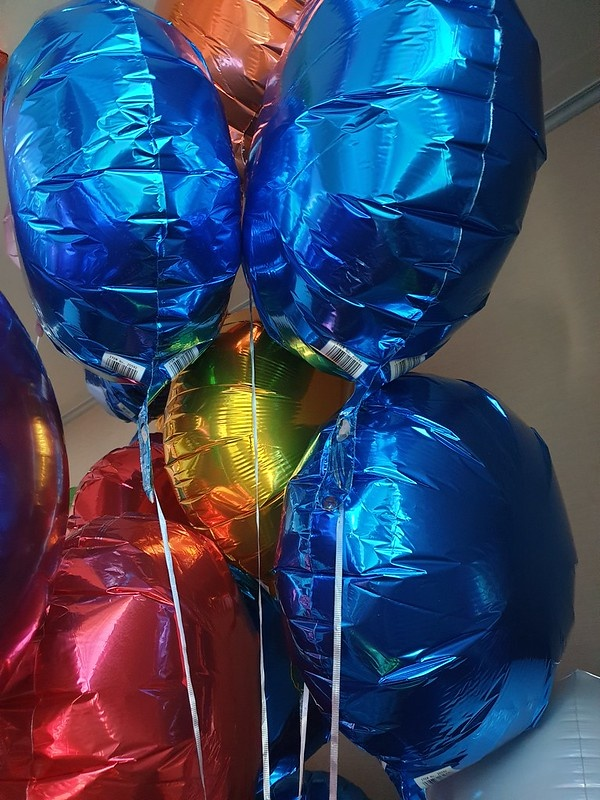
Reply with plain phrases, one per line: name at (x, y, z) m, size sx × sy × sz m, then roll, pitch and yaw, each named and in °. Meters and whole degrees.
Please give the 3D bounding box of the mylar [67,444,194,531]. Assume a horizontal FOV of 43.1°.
mylar at (-0.242, 0.111, 1.137) m, size 0.180 × 0.058 × 0.174 m, roll -5°, pitch -13°, yaw -41°

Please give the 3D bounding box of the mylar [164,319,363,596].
mylar at (-0.094, 0.080, 0.918) m, size 0.298 × 0.267 × 0.143 m, roll 24°, pitch -25°, yaw -31°

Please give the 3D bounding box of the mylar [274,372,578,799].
mylar at (0.111, 0.144, 0.750) m, size 0.215 × 0.355 × 0.329 m, roll -7°, pitch -20°, yaw 41°
